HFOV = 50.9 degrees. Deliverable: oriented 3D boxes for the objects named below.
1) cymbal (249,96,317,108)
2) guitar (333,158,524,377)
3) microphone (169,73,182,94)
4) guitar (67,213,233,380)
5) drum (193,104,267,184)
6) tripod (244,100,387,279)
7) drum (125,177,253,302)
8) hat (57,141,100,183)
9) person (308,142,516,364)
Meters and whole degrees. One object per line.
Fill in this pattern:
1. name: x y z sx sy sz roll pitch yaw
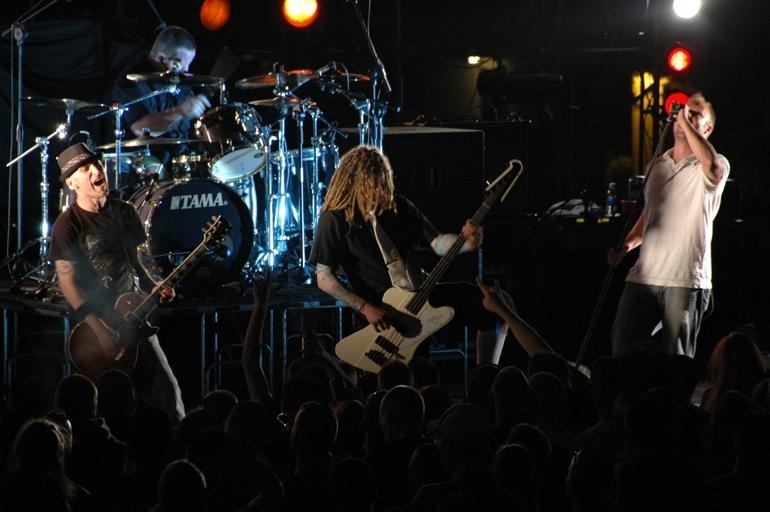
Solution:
1. cymbal: -0.948 -1.577 8.322 0.397 0.066 0.356 -3 0 -38
2. guitar: 0.410 0.082 6.083 0.795 2.217 0.253 39 -2 -5
3. microphone: -2.147 -1.818 8.417 0.126 0.054 0.224 1 -37 -3
4. guitar: -1.690 0.295 6.044 1.595 0.573 0.196 -44 8 16
5. drum: -1.503 -1.108 7.992 0.706 0.778 0.429 2 0 -11
6. tripod: -1.084 -0.740 8.667 1.583 1.663 1.643 4 6 22
7. drum: -1.810 -0.238 7.767 1.091 1.105 1.099 19 -2 -27
8. hat: -2.388 -0.754 6.289 0.366 0.191 0.307 -35 8 -7
9. person: -0.028 -0.091 5.831 0.971 1.983 0.239 11 -10 -24
